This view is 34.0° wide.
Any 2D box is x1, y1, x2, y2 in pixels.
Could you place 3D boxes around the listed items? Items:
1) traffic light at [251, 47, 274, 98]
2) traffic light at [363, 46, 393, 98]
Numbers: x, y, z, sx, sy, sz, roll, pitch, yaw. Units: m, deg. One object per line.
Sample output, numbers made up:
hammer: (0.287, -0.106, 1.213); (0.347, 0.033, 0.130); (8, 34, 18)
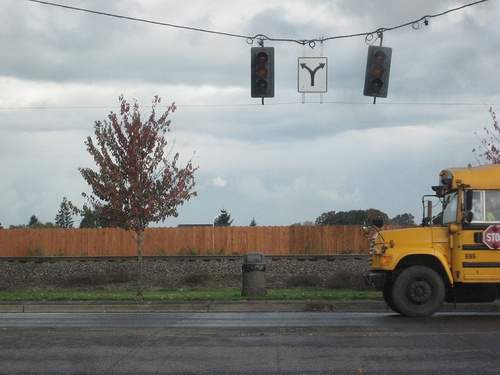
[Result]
traffic light: (0.378, -3.539, 25.223); (0.689, 1.544, 0.304); (-1, -4, 0)
traffic light: (3.971, -3.587, 25.427); (0.838, 1.616, 0.313); (-2, -4, 10)
